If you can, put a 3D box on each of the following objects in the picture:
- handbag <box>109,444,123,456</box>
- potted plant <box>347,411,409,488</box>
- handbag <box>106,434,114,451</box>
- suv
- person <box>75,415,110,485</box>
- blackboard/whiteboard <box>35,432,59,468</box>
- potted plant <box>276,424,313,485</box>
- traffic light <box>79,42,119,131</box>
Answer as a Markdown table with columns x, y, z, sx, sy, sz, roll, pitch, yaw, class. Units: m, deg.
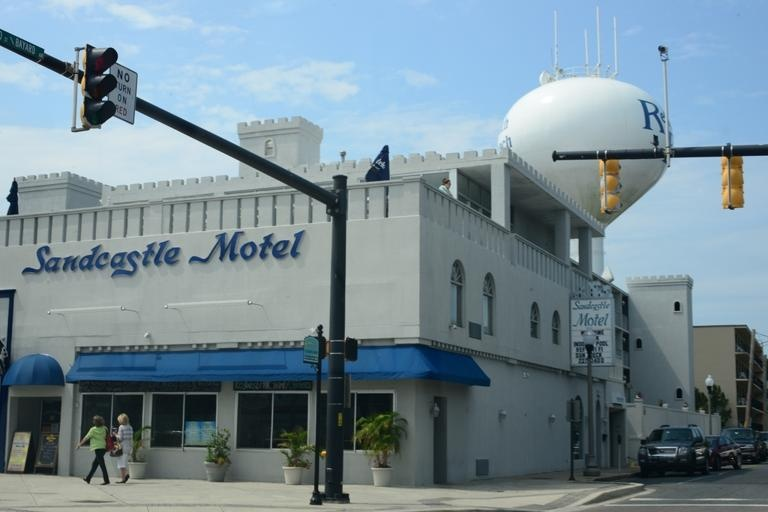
| x | y | z | sx | sy | sz | roll | pitch | yaw | class |
| --- | --- | --- | --- | --- | --- | --- | --- | --- | --- |
| -10.139 | 7.392 | 47.778 | 0.380 | 0.424 | 0.405 | 9 | -12 | -27 | handbag |
| -0.114 | 7.743 | 49.368 | 1.666 | 3.121 | 1.756 | -3 | 1 | -12 | potted plant |
| -10.293 | 7.004 | 47.407 | 0.200 | 0.562 | 0.383 | -1 | -14 | -1 | handbag |
| 13.583 | 8.987 | 58.572 | 2.819 | 2.485 | 5.176 | -4 | -9 | 25 | suv |
| -10.829 | 7.236 | 47.629 | 1.331 | 3.360 | 0.950 | 0 | -11 | 0 | person |
| -14.100 | 8.180 | 52.953 | 0.896 | 1.775 | 0.125 | 5 | 26 | -23 | blackboard/whiteboard |
| -3.468 | 7.963 | 49.717 | 1.014 | 2.428 | 1.078 | 2 | 3 | 21 | potted plant |
| -8.564 | -5.179 | 38.008 | 0.738 | 2.515 | 0.852 | 4 | 0 | 34 | traffic light |
